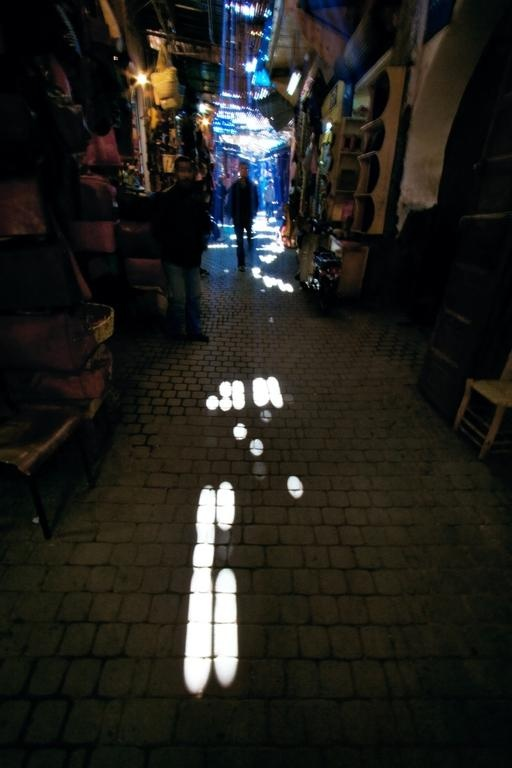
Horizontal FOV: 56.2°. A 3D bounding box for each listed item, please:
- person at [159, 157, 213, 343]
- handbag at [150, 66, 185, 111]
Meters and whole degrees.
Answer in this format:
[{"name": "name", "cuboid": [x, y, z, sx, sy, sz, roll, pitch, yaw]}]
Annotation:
[{"name": "person", "cuboid": [-0.790, -1.402, 5.327, 0.549, 2.013, 0.422, -4, 26, -10]}, {"name": "handbag", "cuboid": [-1.485, -4.937, 8.015, 0.426, 0.609, 0.548, -19, 33, -35]}]
